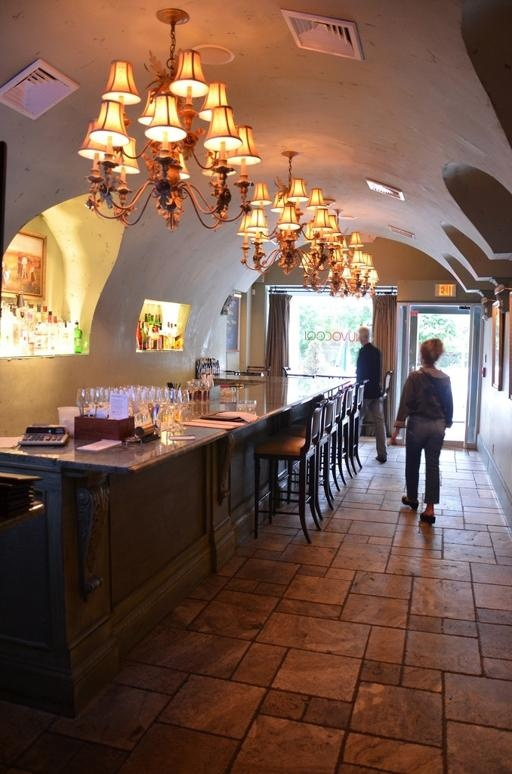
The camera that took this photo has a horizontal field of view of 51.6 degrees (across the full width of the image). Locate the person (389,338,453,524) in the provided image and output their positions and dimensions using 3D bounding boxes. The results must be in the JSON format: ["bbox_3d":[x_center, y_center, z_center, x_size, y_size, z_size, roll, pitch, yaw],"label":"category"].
[{"bbox_3d":[1.573,0.397,4.959,0.487,1.493,0.563,1,0,20],"label":"person"}]

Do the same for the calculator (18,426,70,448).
[{"bbox_3d":[-0.923,0.211,2.329,0.194,0.093,0.271,1,0,-19],"label":"calculator"}]

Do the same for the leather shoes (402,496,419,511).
[{"bbox_3d":[1.524,1.151,5.258,0.078,0.092,0.220,2,19,-8],"label":"leather shoes"}]
